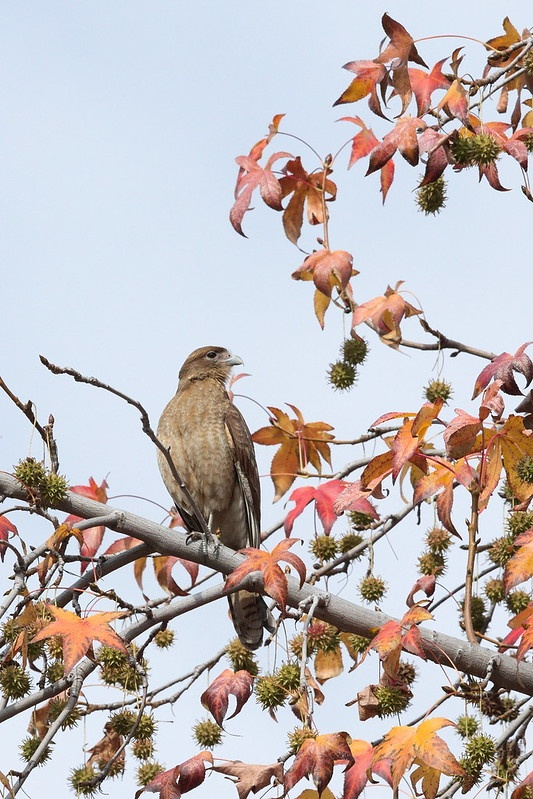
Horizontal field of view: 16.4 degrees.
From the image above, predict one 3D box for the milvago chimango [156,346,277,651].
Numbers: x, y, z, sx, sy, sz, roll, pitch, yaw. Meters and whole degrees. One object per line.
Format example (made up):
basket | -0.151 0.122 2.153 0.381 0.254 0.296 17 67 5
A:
milvago chimango | -0.225 0.463 7.738 0.404 1.294 0.995 -12 -65 4
